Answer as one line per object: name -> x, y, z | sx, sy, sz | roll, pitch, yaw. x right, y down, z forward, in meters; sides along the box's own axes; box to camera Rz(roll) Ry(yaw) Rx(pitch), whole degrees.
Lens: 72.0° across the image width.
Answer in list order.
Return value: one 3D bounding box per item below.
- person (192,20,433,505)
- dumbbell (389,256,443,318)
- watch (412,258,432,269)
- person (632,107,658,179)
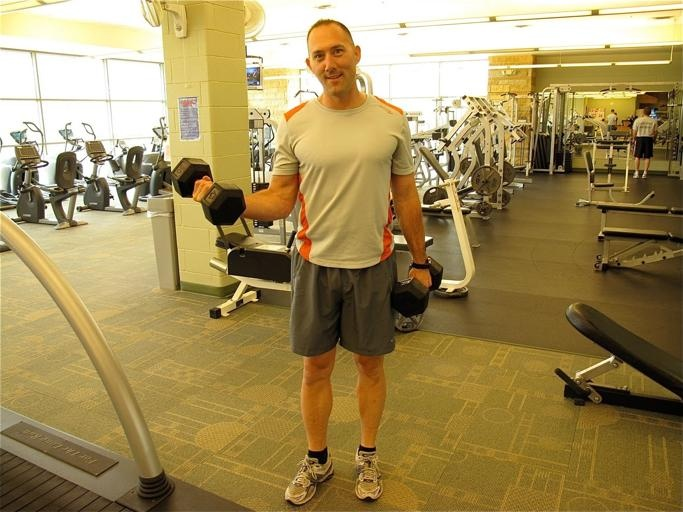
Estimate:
person -> 0.028, 0.083, 2.003 | 0.786, 2.002, 0.277 | -8, 17, -12
dumbbell -> 0.416, 0.186, 2.485 | 0.201, 0.230, 0.461 | -12, 16, 28
watch -> 0.368, 0.037, 2.120 | 0.066, 0.038, 0.048 | 1, 5, -2
person -> 7.986, -3.043, 12.434 | 0.599, 2.262, 0.633 | 10, 16, 29
